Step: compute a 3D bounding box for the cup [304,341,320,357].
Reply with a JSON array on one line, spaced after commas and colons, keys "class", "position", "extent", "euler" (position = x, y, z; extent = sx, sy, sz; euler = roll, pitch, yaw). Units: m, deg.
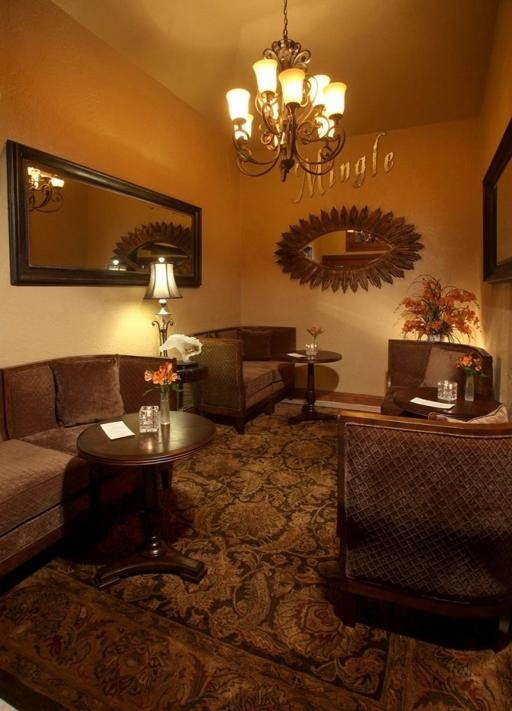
[{"class": "cup", "position": [0.554, -0.052, 5.189], "extent": [0.162, 0.152, 0.159], "euler": [2, 1, 0]}]

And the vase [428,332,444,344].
[{"class": "vase", "position": [1.665, -0.160, 4.951], "extent": [0.119, 0.083, 0.116], "euler": [-2, 8, -17]}]

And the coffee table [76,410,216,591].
[{"class": "coffee table", "position": [-0.466, 0.710, 2.650], "extent": [0.670, 0.668, 0.681], "euler": [4, 11, 28]}]

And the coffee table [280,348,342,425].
[{"class": "coffee table", "position": [0.541, 0.309, 5.256], "extent": [0.588, 0.657, 0.612], "euler": [1, 10, 10]}]

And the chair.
[{"class": "chair", "position": [1.404, 0.123, 4.325], "extent": [0.686, 0.889, 0.680], "euler": [-2, -6, 44]}]

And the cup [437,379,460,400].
[{"class": "cup", "position": [1.197, 0.217, 3.363], "extent": [0.121, 0.117, 0.124], "euler": [1, 2, 0]}]

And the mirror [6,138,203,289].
[{"class": "mirror", "position": [-1.029, -0.927, 3.977], "extent": [0.111, 0.930, 2.020], "euler": [4, 12, 21]}]

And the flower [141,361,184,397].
[{"class": "flower", "position": [-0.607, 0.147, 3.370], "extent": [0.199, 0.170, 0.175], "euler": [-11, 31, -14]}]

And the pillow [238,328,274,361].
[{"class": "pillow", "position": [-0.009, -0.107, 5.812], "extent": [0.321, 0.365, 0.141], "euler": [-2, -21, -4]}]

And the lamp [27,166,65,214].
[{"class": "lamp", "position": [-1.315, -1.009, 3.285], "extent": [0.209, 0.290, 0.234], "euler": [0, 7, 4]}]

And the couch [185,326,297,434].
[{"class": "couch", "position": [-0.134, 0.179, 5.401], "extent": [0.655, 0.803, 1.524], "euler": [4, 8, 22]}]

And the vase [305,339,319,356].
[{"class": "vase", "position": [0.542, -0.067, 5.200], "extent": [0.158, 0.154, 0.157], "euler": [0, -1, 6]}]

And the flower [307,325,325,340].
[{"class": "flower", "position": [0.604, -0.230, 5.401], "extent": [0.181, 0.118, 0.179], "euler": [1, -1, -6]}]

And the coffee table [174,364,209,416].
[{"class": "coffee table", "position": [-0.565, 0.359, 4.992], "extent": [0.321, 0.344, 0.338], "euler": [6, -5, 14]}]

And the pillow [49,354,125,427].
[{"class": "pillow", "position": [-1.070, 0.240, 3.432], "extent": [0.459, 0.377, 0.228], "euler": [-7, 14, -41]}]

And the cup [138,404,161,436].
[{"class": "cup", "position": [-0.529, 0.322, 2.640], "extent": [0.120, 0.158, 0.119], "euler": [0, 3, 0]}]

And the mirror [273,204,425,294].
[{"class": "mirror", "position": [1.049, -1.139, 5.689], "extent": [1.147, 0.786, 0.058], "euler": [2, 14, 29]}]

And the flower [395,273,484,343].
[{"class": "flower", "position": [1.691, -0.421, 5.020], "extent": [0.657, 0.482, 0.710], "euler": [-6, 13, -12]}]
